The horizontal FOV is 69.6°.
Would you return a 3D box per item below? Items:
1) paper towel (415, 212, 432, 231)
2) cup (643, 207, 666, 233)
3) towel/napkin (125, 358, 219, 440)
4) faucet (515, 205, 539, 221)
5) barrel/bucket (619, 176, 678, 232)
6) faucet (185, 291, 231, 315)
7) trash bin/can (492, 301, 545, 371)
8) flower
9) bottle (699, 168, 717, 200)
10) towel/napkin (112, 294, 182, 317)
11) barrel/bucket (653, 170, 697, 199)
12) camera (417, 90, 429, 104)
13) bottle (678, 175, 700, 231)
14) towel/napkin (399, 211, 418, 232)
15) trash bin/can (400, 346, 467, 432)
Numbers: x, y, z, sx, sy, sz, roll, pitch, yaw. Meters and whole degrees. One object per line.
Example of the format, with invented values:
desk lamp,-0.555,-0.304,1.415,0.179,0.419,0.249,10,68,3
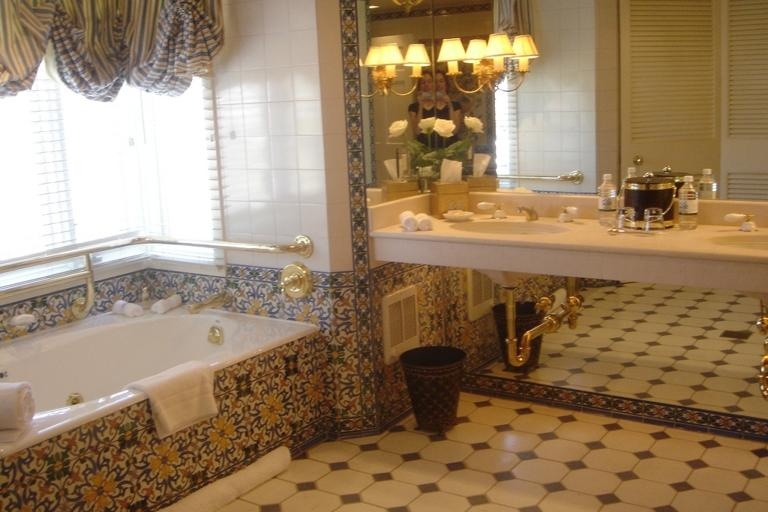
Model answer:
paper towel,0.233,-0.205,3.281,0.100,0.093,0.154,-18,6,2
cup,1.437,-0.194,2.935,0.124,0.125,0.122,-2,3,0
towel/napkin,-1.136,0.667,2.740,0.525,0.131,0.507,-22,-5,-6
faucet,0.865,-0.260,3.402,0.145,0.087,0.073,-6,2,-25
barrel/bucket,1.416,-0.291,3.083,0.349,0.297,0.297,-2,9,11
faucet,-1.100,0.270,3.472,0.232,0.060,0.130,-18,24,-33
trash bin/can,0.871,0.507,3.756,0.451,0.412,0.434,-4,8,1
flower,0.367,-0.743,3.384,0.588,0.317,0.352,-8,22,-10
bottle,1.792,-0.400,3.050,0.095,0.174,0.019,4,18,26
towel/napkin,-1.527,0.332,3.658,0.230,0.062,0.228,3,5,35
barrel/bucket,1.618,-0.405,3.073,0.139,0.155,0.167,-10,12,-31
camera,0.257,-1.010,3.497,0.084,0.068,0.018,-2,9,-20
bottle,1.662,-0.299,3.015,0.106,0.272,0.214,5,17,28
towel/napkin,0.143,-0.204,3.283,0.080,0.079,0.118,-34,11,8
trash bin/can,0.296,0.811,3.520,0.526,0.473,0.491,-2,7,5
